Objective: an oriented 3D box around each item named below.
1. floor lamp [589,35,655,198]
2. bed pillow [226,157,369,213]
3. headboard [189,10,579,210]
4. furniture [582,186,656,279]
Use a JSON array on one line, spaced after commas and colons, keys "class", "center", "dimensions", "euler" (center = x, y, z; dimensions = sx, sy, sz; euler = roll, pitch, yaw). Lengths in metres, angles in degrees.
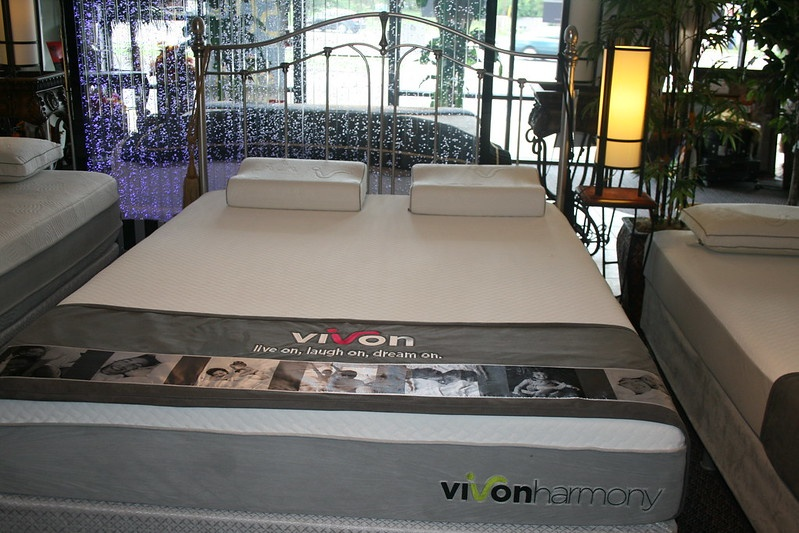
[{"class": "floor lamp", "center": [1.001, -0.666, 2.544], "dimensions": [0.279, 0.678, 0.268], "euler": [-6, 13, -25]}, {"class": "bed pillow", "center": [-0.551, -0.341, 2.767], "dimensions": [0.665, 0.131, 0.415], "euler": [2, -5, -7]}, {"class": "headboard", "center": [-0.203, -0.988, 3.322], "dimensions": [2.809, 1.696, 0.170], "euler": [0, 36, -3]}, {"class": "furniture", "center": [1.115, -0.223, 2.679], "dimensions": [0.430, 0.349, 0.380], "euler": [2, 24, 5]}]
